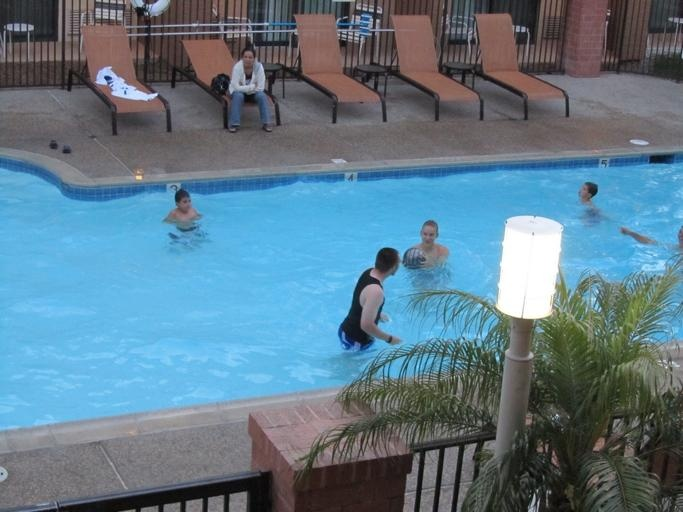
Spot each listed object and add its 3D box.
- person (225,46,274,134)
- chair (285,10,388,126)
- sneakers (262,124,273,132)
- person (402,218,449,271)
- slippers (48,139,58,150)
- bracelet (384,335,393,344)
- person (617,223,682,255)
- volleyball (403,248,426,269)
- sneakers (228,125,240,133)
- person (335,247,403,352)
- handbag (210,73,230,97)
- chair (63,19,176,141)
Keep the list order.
[{"bbox_3d":[-1.614,-2.888,11.196,0.750,1.411,0.961,-1,15,-8],"label":"person"},{"bbox_3d":[-0.218,-3.791,12.268,0.971,1.750,2.938,-11,34,-18],"label":"chair"},{"bbox_3d":[-1.291,-2.204,11.107,0.128,0.141,0.349,-6,17,-24],"label":"sneakers"},{"bbox_3d":[0.989,-0.190,7.698,0.580,0.975,0.536,2,17,6],"label":"person"},{"bbox_3d":[-4.318,-1.664,9.650,0.141,0.112,0.144,2,11,-1],"label":"slippers"},{"bbox_3d":[0.439,0.785,6.006,0.067,0.044,0.079,-5,14,-9],"label":"bracelet"},{"bbox_3d":[4.247,-0.217,8.921,0.809,0.290,0.217,23,15,34],"label":"person"},{"bbox_3d":[0.859,0.039,7.665,0.202,0.247,0.261,-1,1,8],"label":"volleyball"},{"bbox_3d":[-1.828,-2.171,11.009,0.138,0.118,0.346,7,16,20],"label":"sneakers"},{"bbox_3d":[0.268,0.443,6.130,0.326,1.123,0.618,-6,16,-23],"label":"person"},{"bbox_3d":[-2.131,-2.973,11.242,0.294,0.236,0.440,2,45,-5],"label":"handbag"},{"bbox_3d":[-3.967,-3.188,11.423,1.190,1.560,3.087,-14,43,-28],"label":"chair"}]
